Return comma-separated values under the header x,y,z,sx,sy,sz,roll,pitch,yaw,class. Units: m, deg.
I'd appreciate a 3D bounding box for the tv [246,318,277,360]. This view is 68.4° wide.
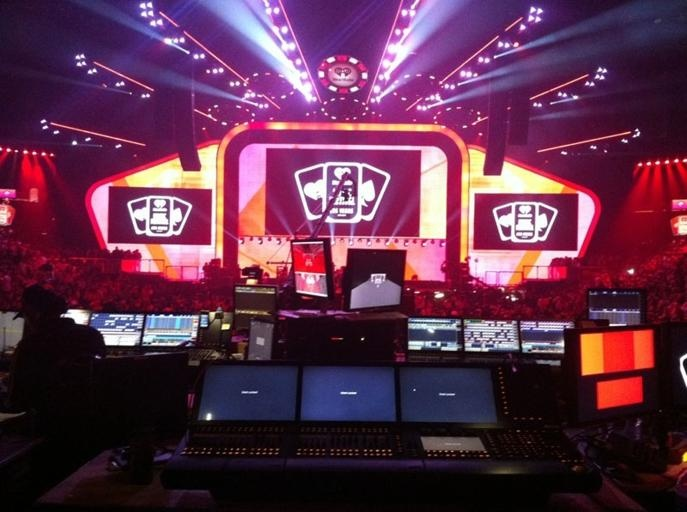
x,y,z,sx,sy,sz,roll,pitch,yaw,class
-0.740,0.761,4.591,0.074,0.413,0.450,8,-7,-34,tv

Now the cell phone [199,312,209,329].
x,y,z,sx,sy,sz,roll,pitch,yaw,class
-1.585,0.734,5.764,0.097,0.199,0.059,5,-6,-37,cell phone

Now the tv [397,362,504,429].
x,y,z,sx,sy,sz,roll,pitch,yaw,class
0.728,0.974,3.538,0.661,0.359,0.116,1,-5,1,tv

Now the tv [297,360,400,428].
x,y,z,sx,sy,sz,roll,pitch,yaw,class
0.026,0.965,3.518,0.585,0.348,0.115,-2,-12,0,tv

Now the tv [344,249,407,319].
x,y,z,sx,sy,sz,roll,pitch,yaw,class
0.254,0.240,4.320,0.644,0.439,0.085,5,-3,-43,tv

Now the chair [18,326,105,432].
x,y,z,sx,sy,sz,roll,pitch,yaw,class
-2.259,1.003,3.999,0.745,0.767,0.446,-5,-32,-2,chair

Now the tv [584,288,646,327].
x,y,z,sx,sy,sz,roll,pitch,yaw,class
2.973,0.569,5.486,0.429,0.269,0.202,0,1,9,tv

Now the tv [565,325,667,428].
x,y,z,sx,sy,sz,roll,pitch,yaw,class
2.025,0.878,3.791,0.864,0.701,0.101,3,-5,-20,tv
